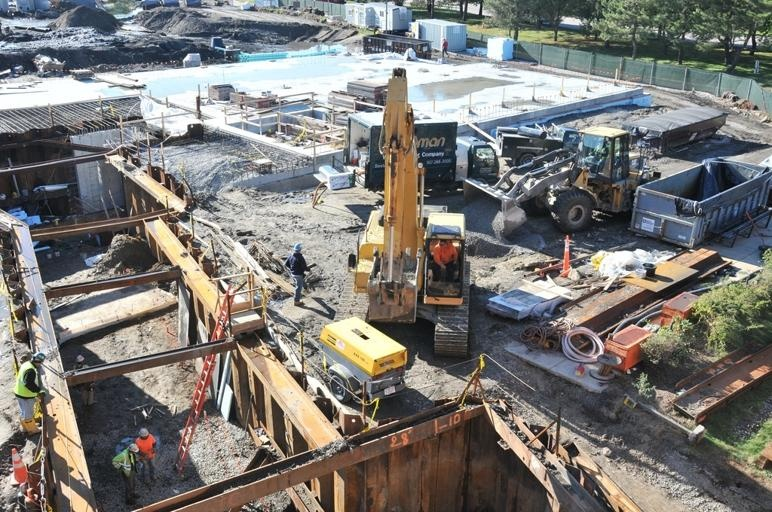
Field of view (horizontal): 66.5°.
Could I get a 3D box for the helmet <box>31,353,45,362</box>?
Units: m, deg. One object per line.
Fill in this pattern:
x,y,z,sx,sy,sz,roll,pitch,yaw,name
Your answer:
-8.288,2.404,14.080,0.199,0.247,0.196,28,72,-3,helmet

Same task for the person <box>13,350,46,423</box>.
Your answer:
-8.369,3.129,13.860,0.678,1.714,0.701,41,39,18,person

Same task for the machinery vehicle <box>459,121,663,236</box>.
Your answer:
7.246,-2.978,22.908,7.754,3.352,2.809,-14,25,-17,machinery vehicle

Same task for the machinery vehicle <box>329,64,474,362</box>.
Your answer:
0.739,-1.189,15.977,3.859,7.477,3.040,11,30,19,machinery vehicle

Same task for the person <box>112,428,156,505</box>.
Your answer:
-6.043,5.063,14.276,0.548,1.452,1.083,14,30,23,person

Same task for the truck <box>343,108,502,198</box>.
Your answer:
1.837,-4.341,25.767,6.416,3.367,3.514,-7,32,-11,truck

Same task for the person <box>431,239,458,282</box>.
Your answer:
1.688,0.087,16.592,0.818,1.351,0.731,-10,24,1,person

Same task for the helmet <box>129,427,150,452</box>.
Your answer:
-5.991,4.474,14.332,0.334,0.435,0.525,3,27,4,helmet
